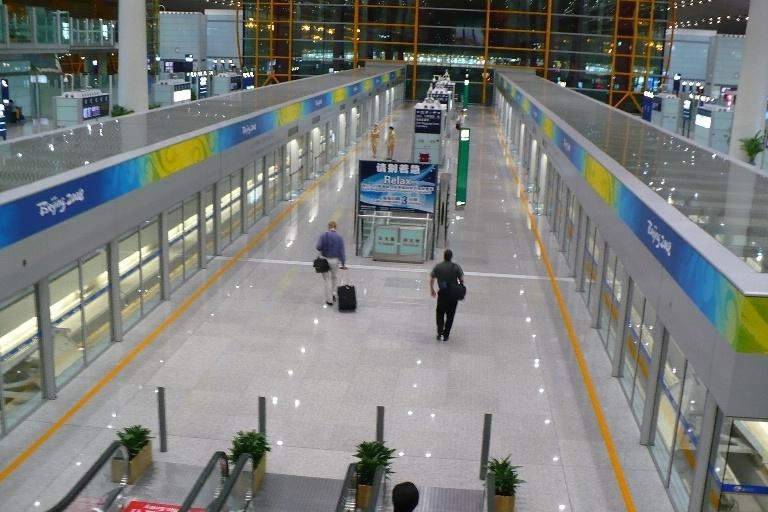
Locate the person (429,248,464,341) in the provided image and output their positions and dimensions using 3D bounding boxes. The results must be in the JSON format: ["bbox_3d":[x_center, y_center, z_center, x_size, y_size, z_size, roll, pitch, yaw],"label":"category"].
[{"bbox_3d":[1.348,0.784,12.304,0.729,2.037,0.595,3,19,5],"label":"person"}]

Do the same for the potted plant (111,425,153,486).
[{"bbox_3d":[-3.461,2.779,7.925,0.397,0.568,0.607,2,18,2],"label":"potted plant"}]

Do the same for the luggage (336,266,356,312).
[{"bbox_3d":[-0.899,0.757,13.843,0.412,1.212,0.372,-1,-21,-7],"label":"luggage"}]

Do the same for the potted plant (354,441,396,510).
[{"bbox_3d":[-0.136,2.957,7.914,0.506,0.736,0.802,2,20,2],"label":"potted plant"}]

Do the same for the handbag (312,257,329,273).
[{"bbox_3d":[-1.498,0.179,13.772,0.336,0.378,0.391,-5,15,10],"label":"handbag"}]

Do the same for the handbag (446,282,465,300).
[{"bbox_3d":[1.554,0.746,12.064,0.282,0.408,0.397,10,40,17],"label":"handbag"}]

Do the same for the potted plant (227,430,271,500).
[{"bbox_3d":[-1.907,2.856,8.090,0.534,0.585,0.839,2,20,0],"label":"potted plant"}]
